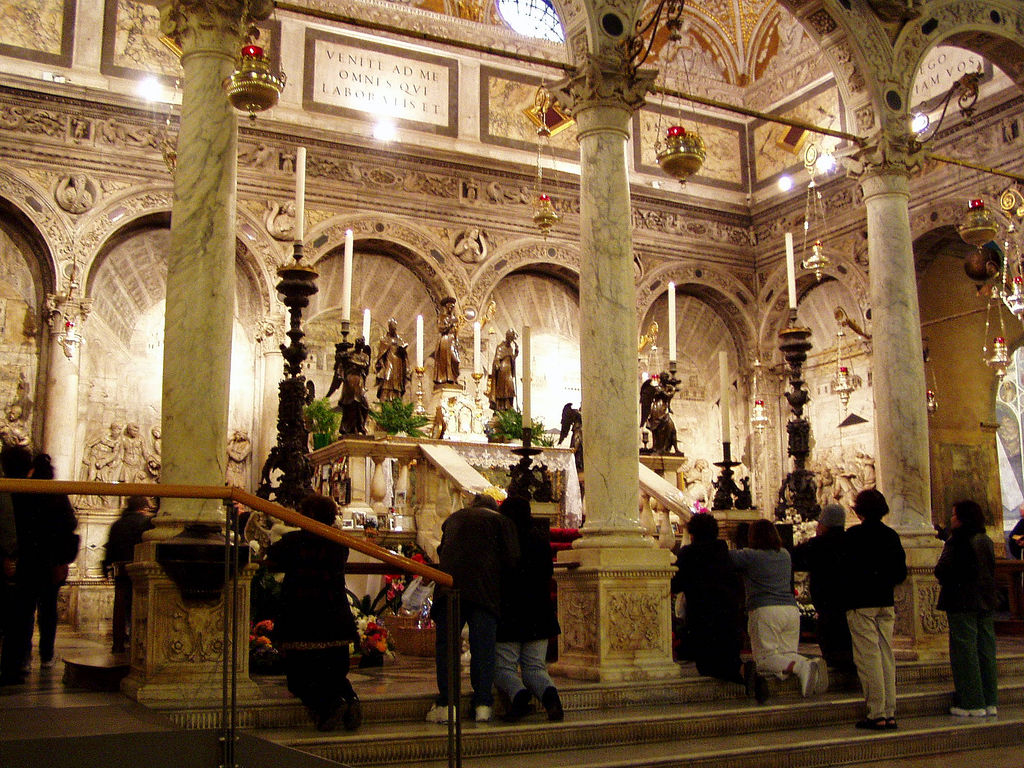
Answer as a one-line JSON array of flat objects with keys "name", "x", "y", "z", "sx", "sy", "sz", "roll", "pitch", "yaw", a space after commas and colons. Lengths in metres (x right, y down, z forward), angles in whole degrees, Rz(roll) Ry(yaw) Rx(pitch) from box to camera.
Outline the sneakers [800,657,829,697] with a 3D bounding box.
[{"name": "sneakers", "x": 2.391, "y": 2.319, "z": 7.853, "sx": 0.205, "sy": 0.350, "sz": 0.154, "roll": 4, "pitch": 0, "yaw": -10}]

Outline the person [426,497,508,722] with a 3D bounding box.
[{"name": "person", "x": -0.287, "y": 1.550, "z": 6.933, "sx": 0.584, "sy": 1.587, "sz": 1.947, "roll": 1, "pitch": -12, "yaw": -4}]

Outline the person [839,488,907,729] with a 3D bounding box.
[{"name": "person", "x": 2.856, "y": 1.757, "z": 7.812, "sx": 0.511, "sy": 1.822, "sz": 0.300, "roll": 6, "pitch": -14, "yaw": -25}]

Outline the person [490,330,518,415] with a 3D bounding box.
[{"name": "person", "x": -0.135, "y": -0.141, "z": 15.957, "sx": 0.395, "sy": 1.273, "sz": 0.874, "roll": 0, "pitch": -12, "yaw": 0}]

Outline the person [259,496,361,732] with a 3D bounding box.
[{"name": "person", "x": -1.327, "y": 1.624, "z": 6.597, "sx": 0.646, "sy": 1.312, "sz": 0.243, "roll": 3, "pitch": -13, "yaw": -14}]

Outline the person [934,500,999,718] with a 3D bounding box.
[{"name": "person", "x": 3.782, "y": 1.854, "z": 8.225, "sx": 0.454, "sy": 1.746, "sz": 0.527, "roll": -8, "pitch": -15, "yaw": 33}]

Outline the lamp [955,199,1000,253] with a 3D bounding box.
[{"name": "lamp", "x": 5.444, "y": -1.972, "z": 11.548, "sx": 0.357, "sy": 0.635, "sz": 0.605, "roll": -6, "pitch": -14, "yaw": 27}]

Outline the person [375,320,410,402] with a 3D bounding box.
[{"name": "person", "x": -1.917, "y": -0.346, "z": 15.482, "sx": 0.532, "sy": 1.315, "sz": 0.525, "roll": -2, "pitch": -12, "yaw": 8}]

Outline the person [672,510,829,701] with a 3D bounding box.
[{"name": "person", "x": 2.037, "y": 1.828, "z": 8.237, "sx": 1.068, "sy": 1.492, "sz": 0.679, "roll": -8, "pitch": -15, "yaw": 32}]
